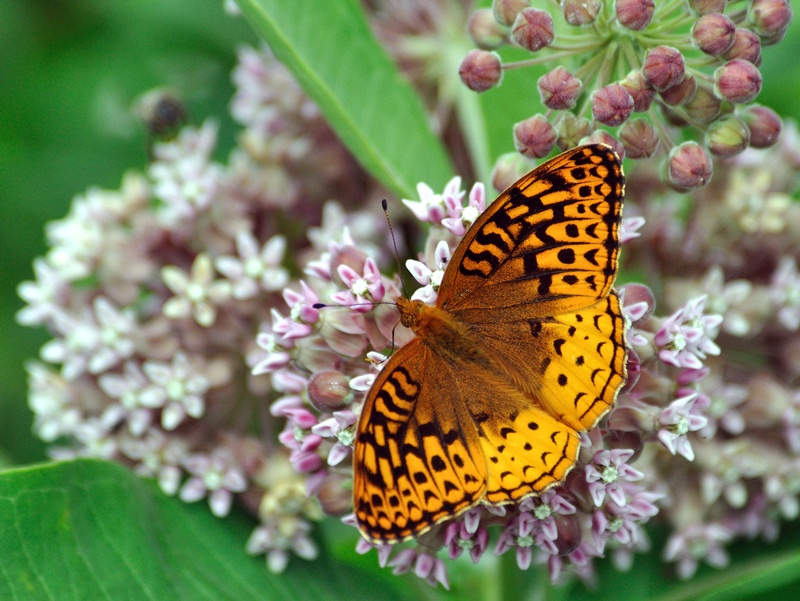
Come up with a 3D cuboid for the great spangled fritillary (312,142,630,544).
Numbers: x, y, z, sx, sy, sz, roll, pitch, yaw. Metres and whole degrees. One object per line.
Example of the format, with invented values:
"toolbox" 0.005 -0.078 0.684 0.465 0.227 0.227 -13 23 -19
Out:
"great spangled fritillary" 0.247 0.146 2.826 0.749 0.474 1.019 -2 81 6
